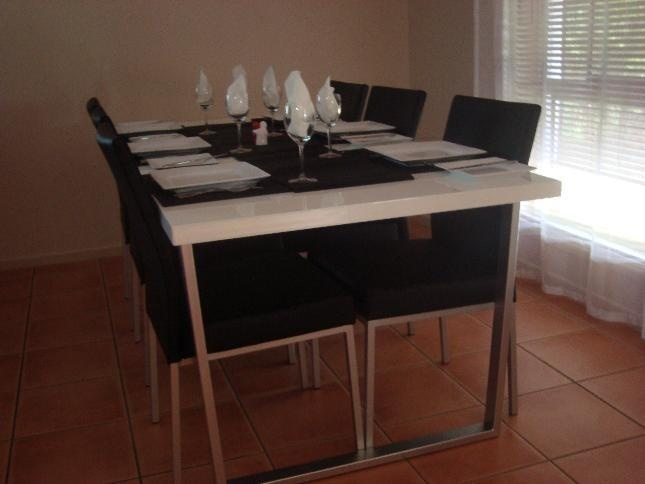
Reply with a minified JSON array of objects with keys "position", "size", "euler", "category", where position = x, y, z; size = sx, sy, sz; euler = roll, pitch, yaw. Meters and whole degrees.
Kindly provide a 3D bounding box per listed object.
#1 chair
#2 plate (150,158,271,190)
[{"position":[-0.090,0.248,2.285],"size":[1.445,1.325,1.646],"euler":[-10,22,-23],"category":"chair"},{"position":[-0.389,-0.233,1.779],"size":[0.376,0.029,0.306],"euler":[-10,28,-13],"category":"plate"}]
